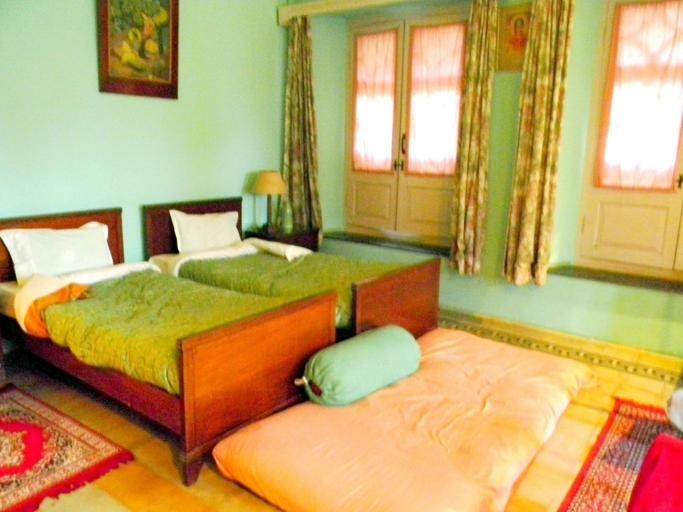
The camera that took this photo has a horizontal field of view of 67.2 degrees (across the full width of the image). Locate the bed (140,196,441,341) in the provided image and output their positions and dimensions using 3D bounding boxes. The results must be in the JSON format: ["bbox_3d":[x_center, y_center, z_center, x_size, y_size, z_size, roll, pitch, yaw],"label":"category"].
[{"bbox_3d":[-0.407,0.128,4.351,2.064,1.189,1.302,8,15,36],"label":"bed"}]

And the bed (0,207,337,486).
[{"bbox_3d":[-1.251,0.259,3.517,2.228,1.281,1.278,11,17,41],"label":"bed"}]

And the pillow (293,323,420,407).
[{"bbox_3d":[0.138,0.649,3.182,0.737,0.342,0.340,-18,32,-28],"label":"pillow"}]
